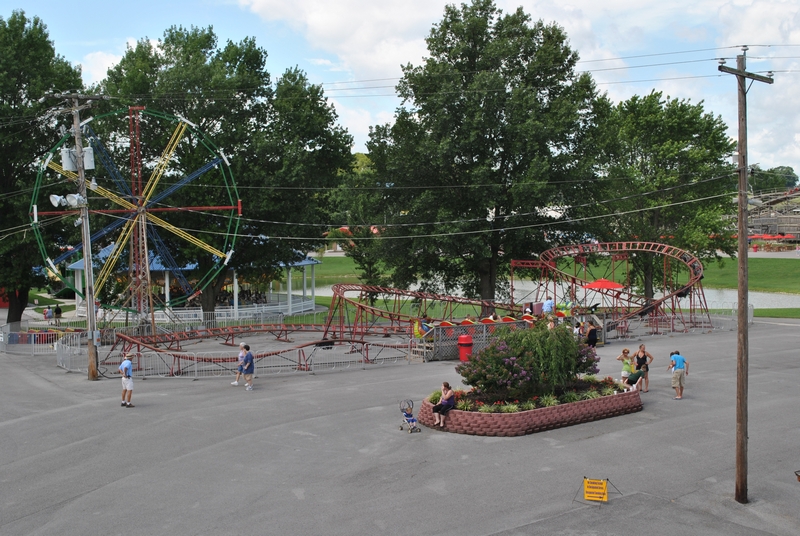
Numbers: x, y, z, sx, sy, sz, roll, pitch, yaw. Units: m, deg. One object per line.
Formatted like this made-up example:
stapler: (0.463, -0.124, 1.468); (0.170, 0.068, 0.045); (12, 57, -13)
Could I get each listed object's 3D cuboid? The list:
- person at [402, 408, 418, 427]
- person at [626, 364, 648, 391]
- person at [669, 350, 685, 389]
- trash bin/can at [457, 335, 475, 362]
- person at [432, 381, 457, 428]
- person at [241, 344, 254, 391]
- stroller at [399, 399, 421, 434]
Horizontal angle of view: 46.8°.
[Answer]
person: (0.530, 7.299, 44.597); (0.646, 0.844, 0.853); (2, -6, -26)
person: (12.455, 5.773, 48.680); (0.798, 0.751, 2.352); (-20, -2, 27)
person: (14.471, 5.324, 48.021); (0.666, 1.746, 0.829); (-3, -4, 23)
trash bin/can: (4.141, 5.094, 58.574); (1.472, 1.947, 1.441); (-1, 2, -1)
person: (2.105, 6.602, 44.486); (1.127, 2.126, 0.727); (-2, -3, 8)
person: (-8.620, 5.596, 52.129); (0.709, 2.520, 1.427); (-1, -3, -10)
stroller: (0.707, 7.318, 45.075); (0.880, 1.601, 1.400); (1, -3, -30)
